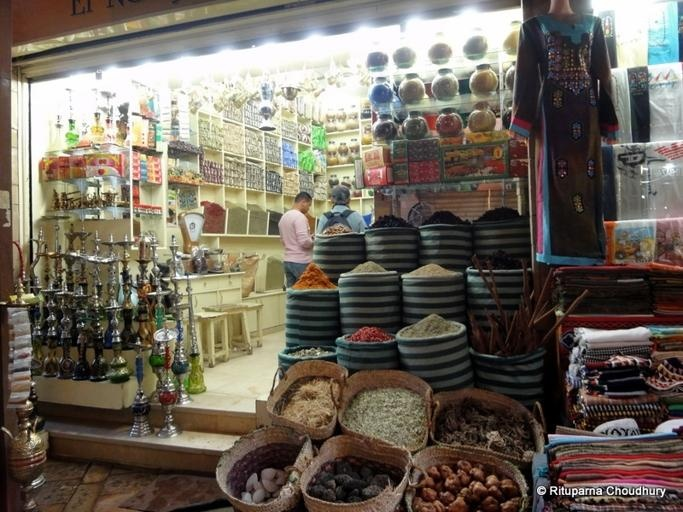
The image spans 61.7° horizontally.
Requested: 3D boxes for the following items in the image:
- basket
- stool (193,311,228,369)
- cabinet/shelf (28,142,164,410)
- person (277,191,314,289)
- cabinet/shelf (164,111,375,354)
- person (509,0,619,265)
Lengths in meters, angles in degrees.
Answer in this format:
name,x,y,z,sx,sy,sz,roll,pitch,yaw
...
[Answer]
name,x,y,z,sx,sy,sz,roll,pitch,yaw
basket,0.285,0.962,3.411,1.391,0.523,0.868,0,20,12
stool,-1.374,0.835,6.175,0.326,0.576,1.066,-6,5,-13
cabinet/shelf,-2.191,0.078,5.235,1.112,1.760,1.696,-7,5,-15
person,-0.466,-0.165,6.295,0.386,1.080,0.578,-6,5,-5
cabinet/shelf,-1.241,-0.435,7.835,0.760,2.915,3.757,-4,5,20
person,1.433,-0.792,3.666,0.656,1.693,0.348,-4,5,12
